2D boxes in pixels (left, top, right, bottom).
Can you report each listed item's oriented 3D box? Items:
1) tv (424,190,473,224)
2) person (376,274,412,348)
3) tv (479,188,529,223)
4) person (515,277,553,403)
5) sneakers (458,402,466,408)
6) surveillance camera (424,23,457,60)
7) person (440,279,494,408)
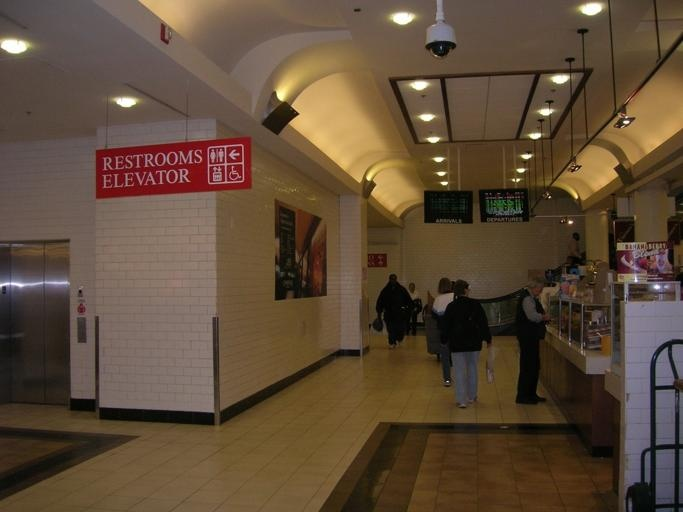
[{"bbox_3d":[2.542,-1.151,12.556,1.082,0.790,0.117,0,-10,-3],"label":"tv"},{"bbox_3d":[1.509,1.538,15.018,0.880,2.026,1.290,-1,-2,14],"label":"person"},{"bbox_3d":[3.791,-1.160,12.393,1.089,0.808,0.125,0,-22,12],"label":"tv"},{"bbox_3d":[2.897,1.313,8.122,0.474,1.928,0.589,-1,-2,18],"label":"person"},{"bbox_3d":[1.817,2.248,8.024,0.090,0.044,0.119,2,3,20],"label":"sneakers"},{"bbox_3d":[0.792,-1.760,4.293,0.222,0.302,0.199,-1,-2,-4],"label":"surveillance camera"},{"bbox_3d":[1.929,1.341,8.264,0.731,1.928,0.613,-1,-2,10],"label":"person"}]
